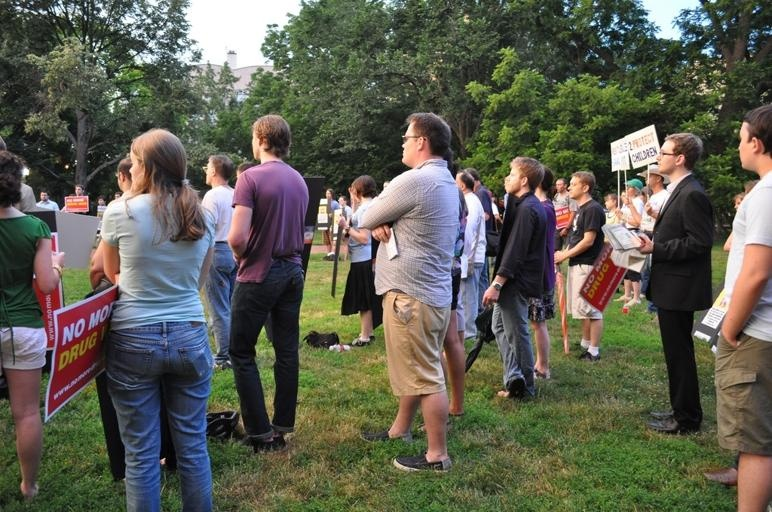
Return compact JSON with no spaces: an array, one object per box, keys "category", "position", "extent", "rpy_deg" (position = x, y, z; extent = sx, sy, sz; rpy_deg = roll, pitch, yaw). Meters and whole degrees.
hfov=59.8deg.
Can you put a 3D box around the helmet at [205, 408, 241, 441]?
[{"category":"helmet","position":[-1.664,1.725,6.819],"extent":[0.300,0.143,0.235],"rpy_deg":[-4,21,-15]}]

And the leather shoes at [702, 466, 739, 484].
[{"category":"leather shoes","position":[3.123,2.051,6.225],"extent":[0.385,0.150,0.131],"rpy_deg":[0,19,13]}]

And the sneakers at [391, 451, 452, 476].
[{"category":"sneakers","position":[0.352,1.995,6.457],"extent":[0.470,0.143,0.201],"rpy_deg":[3,-13,3]}]

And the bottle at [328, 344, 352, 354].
[{"category":"bottle","position":[-0.646,1.324,9.450],"extent":[0.347,0.117,0.112],"rpy_deg":[5,4,-35]}]

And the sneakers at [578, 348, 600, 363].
[{"category":"sneakers","position":[2.783,1.399,9.332],"extent":[0.331,0.150,0.127],"rpy_deg":[6,-10,6]}]

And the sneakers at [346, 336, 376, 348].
[{"category":"sneakers","position":[-0.358,1.266,9.827],"extent":[0.379,0.150,0.128],"rpy_deg":[3,-5,-16]}]

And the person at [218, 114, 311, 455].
[{"category":"person","position":[-1.150,0.503,6.639],"extent":[0.785,2.872,0.343],"rpy_deg":[-1,2,-19]}]

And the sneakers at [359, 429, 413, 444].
[{"category":"sneakers","position":[-0.003,1.871,6.897],"extent":[0.465,0.122,0.187],"rpy_deg":[2,-18,7]}]

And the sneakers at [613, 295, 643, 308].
[{"category":"sneakers","position":[4.607,0.879,12.754],"extent":[0.633,0.275,0.192],"rpy_deg":[12,-7,-36]}]

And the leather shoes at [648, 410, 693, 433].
[{"category":"leather shoes","position":[2.983,1.772,7.074],"extent":[0.300,0.100,0.239],"rpy_deg":[3,1,13]}]

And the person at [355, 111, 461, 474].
[{"category":"person","position":[0.274,0.337,6.504],"extent":[0.862,3.448,0.412],"rpy_deg":[0,1,4]}]
